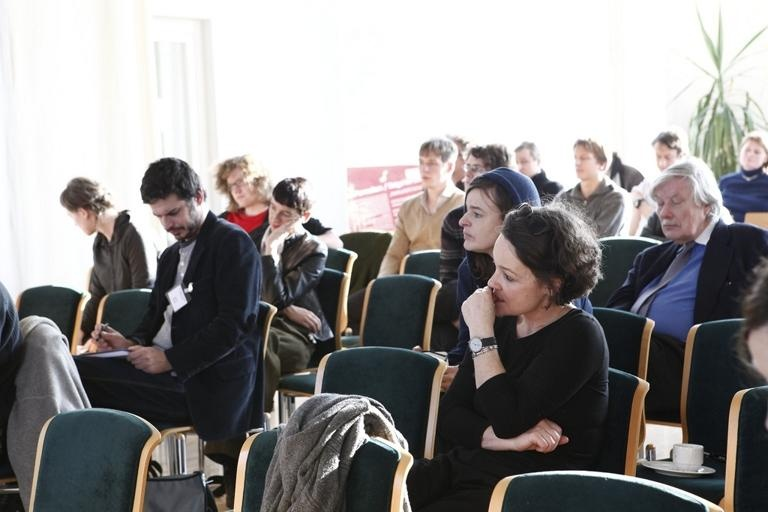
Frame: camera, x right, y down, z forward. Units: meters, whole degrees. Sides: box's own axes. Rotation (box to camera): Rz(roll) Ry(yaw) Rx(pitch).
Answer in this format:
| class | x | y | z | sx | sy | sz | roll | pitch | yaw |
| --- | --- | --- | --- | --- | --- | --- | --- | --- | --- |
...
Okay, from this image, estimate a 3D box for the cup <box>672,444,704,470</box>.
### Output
| class | x | y | z | sx | sy | sz | roll | pitch | yaw |
| --- | --- | --- | --- | --- | --- | --- | --- | --- | --- |
| cup | 1.244 | 0.808 | 2.769 | 0.096 | 0.076 | 0.100 | 0 | -3 | 0 |
